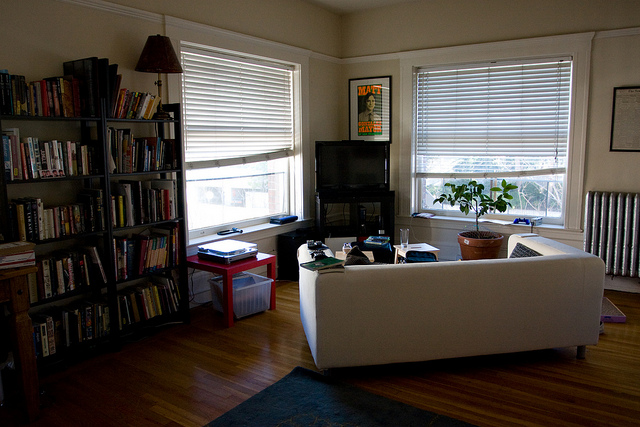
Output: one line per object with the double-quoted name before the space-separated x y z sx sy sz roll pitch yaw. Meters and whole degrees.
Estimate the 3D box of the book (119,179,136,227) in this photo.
"book" -1.824 -0.086 4.425 0.058 0.414 0.373 -4 11 -27

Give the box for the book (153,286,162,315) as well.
"book" -1.621 0.880 4.688 0.049 0.209 0.203 -10 13 -28

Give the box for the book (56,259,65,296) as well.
"book" -2.260 0.553 4.068 0.109 0.279 0.301 -3 7 -28

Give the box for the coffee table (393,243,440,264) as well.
"coffee table" 1.090 0.470 5.412 0.440 0.212 0.571 -1 10 0

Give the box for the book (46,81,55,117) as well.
"book" -2.283 -0.979 3.963 0.041 0.281 0.027 -6 11 -29

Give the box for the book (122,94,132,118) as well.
"book" -1.811 -1.010 4.403 0.041 0.168 0.170 9 7 -14

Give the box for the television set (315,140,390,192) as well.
"television set" 0.406 -0.631 6.186 0.926 0.580 0.060 -2 7 -9

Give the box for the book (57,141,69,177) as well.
"book" -2.223 -0.479 4.045 0.047 0.331 0.257 -7 13 -31

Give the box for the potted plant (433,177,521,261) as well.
"potted plant" 2.053 0.087 6.004 1.016 1.057 0.574 6 12 44

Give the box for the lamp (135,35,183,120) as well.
"lamp" -1.581 -1.299 4.596 0.419 0.716 0.425 -4 9 -19

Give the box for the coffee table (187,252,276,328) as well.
"coffee table" -0.977 0.663 5.140 0.782 0.717 0.783 10 15 38

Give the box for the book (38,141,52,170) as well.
"book" -2.329 -0.485 3.966 0.082 0.223 0.031 -5 10 -22

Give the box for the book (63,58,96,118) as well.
"book" -2.094 -1.078 4.091 0.181 0.490 0.515 -6 8 -32
